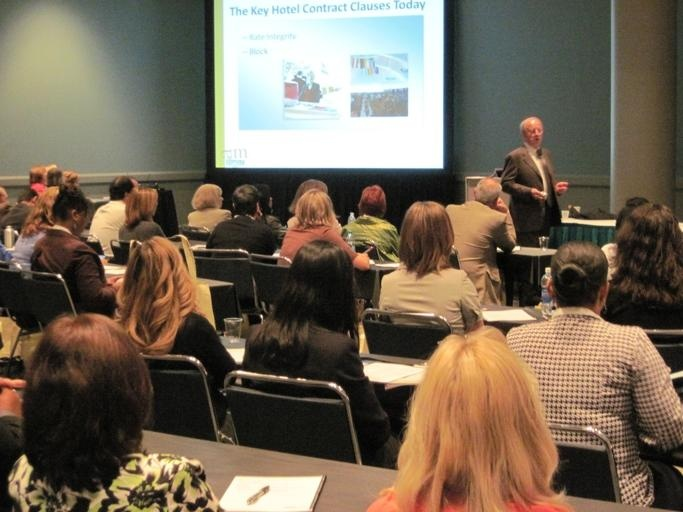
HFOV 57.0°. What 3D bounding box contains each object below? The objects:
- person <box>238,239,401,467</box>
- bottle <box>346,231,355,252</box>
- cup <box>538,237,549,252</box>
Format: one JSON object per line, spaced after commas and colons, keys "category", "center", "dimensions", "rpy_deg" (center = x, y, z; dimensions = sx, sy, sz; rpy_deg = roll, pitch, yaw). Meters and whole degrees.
{"category": "person", "center": [-0.101, 0.365, 2.562], "dimensions": [0.569, 1.010, 0.689], "rpy_deg": [6, 29, 12]}
{"category": "bottle", "center": [0.075, -0.140, 5.564], "dimensions": [0.044, 0.135, 0.082], "rpy_deg": [-3, 4, -38]}
{"category": "cup", "center": [1.933, -0.116, 6.031], "dimensions": [0.139, 0.175, 0.149], "rpy_deg": [-1, 2, 0]}
